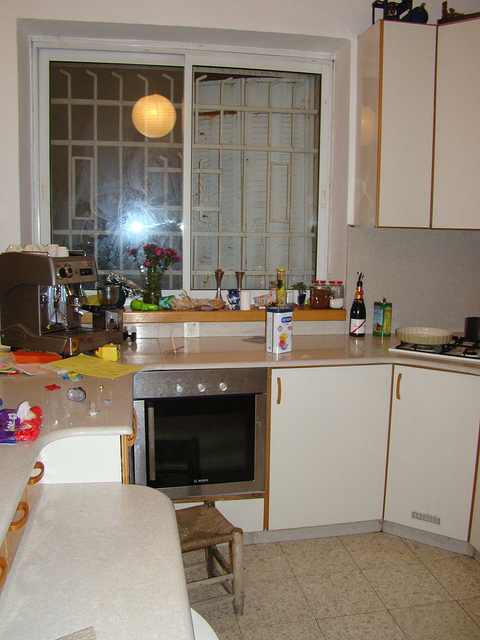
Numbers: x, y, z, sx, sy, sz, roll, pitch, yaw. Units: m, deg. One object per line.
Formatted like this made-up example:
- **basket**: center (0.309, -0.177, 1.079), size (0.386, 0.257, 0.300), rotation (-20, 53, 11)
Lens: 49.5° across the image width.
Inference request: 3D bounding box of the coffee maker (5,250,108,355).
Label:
- **coffee maker**: center (-0.764, -0.065, 2.094), size (0.402, 0.403, 0.235), rotation (0, 7, -5)

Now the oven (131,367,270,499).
- **oven**: center (-0.159, 0.556, 2.316), size (0.564, 0.553, 0.405), rotation (-5, -33, 3)

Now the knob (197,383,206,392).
- **knob**: center (-0.160, 0.276, 2.129), size (0.029, 0.030, 0.007), rotation (1, 2, -18)

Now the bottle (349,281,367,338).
- **bottle**: center (0.651, -0.058, 2.839), size (0.114, 0.304, 0.093), rotation (-1, 7, -11)

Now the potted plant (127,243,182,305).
- **potted plant**: center (-0.479, -0.253, 2.830), size (0.259, 0.327, 0.219), rotation (-1, 7, -13)

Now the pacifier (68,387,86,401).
- **pacifier**: center (-0.462, 0.210, 1.470), size (0.046, 0.032, 0.044), rotation (-2, 7, -20)

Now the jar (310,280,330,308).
- **jar**: center (0.448, -0.148, 2.934), size (0.130, 0.233, 0.140), rotation (0, 6, 0)

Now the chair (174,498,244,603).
- **chair**: center (-0.129, 0.897, 2.010), size (0.235, 0.370, 0.544), rotation (0, 7, -8)

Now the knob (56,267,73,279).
- **knob**: center (-0.677, -0.181, 2.005), size (0.015, 0.039, 0.059), rotation (6, 9, 34)

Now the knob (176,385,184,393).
- **knob**: center (-0.245, 0.280, 2.117), size (0.031, 0.033, 0.011), rotation (-1, 7, -11)

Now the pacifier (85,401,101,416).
- **pacifier**: center (-0.379, 0.227, 1.331), size (0.029, 0.030, 0.029), rotation (0, 2, -21)
